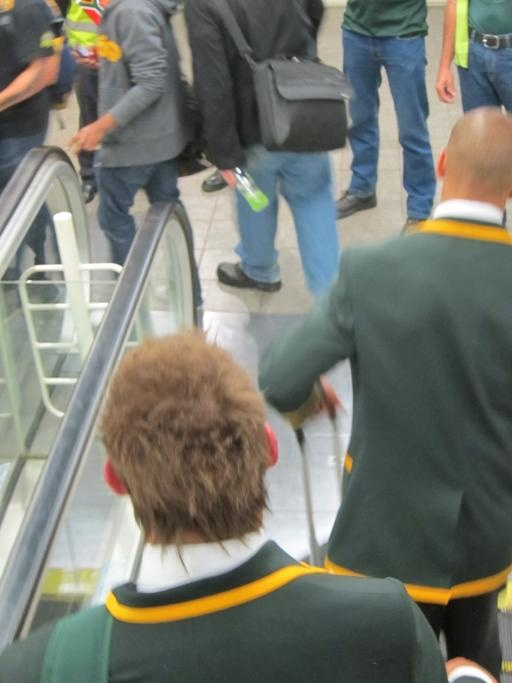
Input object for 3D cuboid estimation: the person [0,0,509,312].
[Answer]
[{"bbox_3d":[-0.055,-0.731,2.746,1.322,0.373,1.149,-2,61,8],"label":"person"}]
